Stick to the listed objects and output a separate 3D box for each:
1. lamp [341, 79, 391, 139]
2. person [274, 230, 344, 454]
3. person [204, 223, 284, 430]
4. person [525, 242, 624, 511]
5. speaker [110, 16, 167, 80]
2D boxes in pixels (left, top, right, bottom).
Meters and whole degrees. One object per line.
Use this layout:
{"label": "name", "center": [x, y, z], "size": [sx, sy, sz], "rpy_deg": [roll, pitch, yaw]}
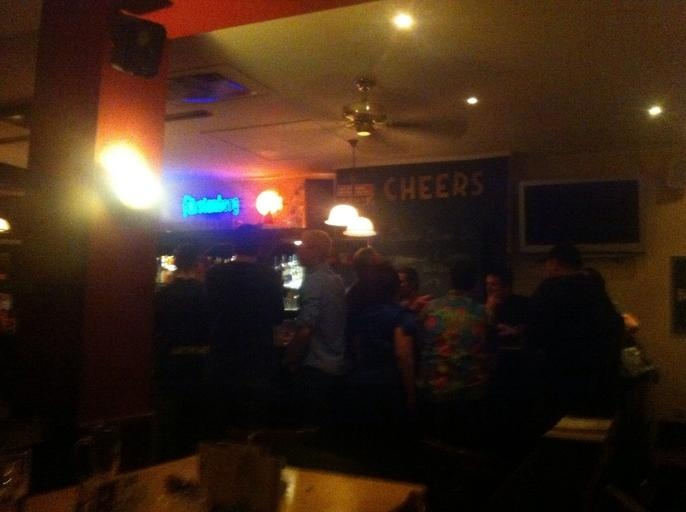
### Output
{"label": "lamp", "center": [0.199, -1.375, 5.809], "size": [0.463, 0.537, 0.422], "rpy_deg": [0, -2, -26]}
{"label": "person", "center": [-0.217, 0.554, 4.371], "size": [0.482, 1.436, 0.418], "rpy_deg": [-1, -2, 0]}
{"label": "person", "center": [-0.694, 0.624, 4.188], "size": [0.560, 1.119, 0.432], "rpy_deg": [0, -2, -17]}
{"label": "person", "center": [1.717, 0.825, 4.257], "size": [0.654, 1.781, 0.766], "rpy_deg": [-1, -2, 17]}
{"label": "speaker", "center": [-1.433, -1.376, 3.845], "size": [0.410, 0.372, 0.224], "rpy_deg": [29, 9, 31]}
